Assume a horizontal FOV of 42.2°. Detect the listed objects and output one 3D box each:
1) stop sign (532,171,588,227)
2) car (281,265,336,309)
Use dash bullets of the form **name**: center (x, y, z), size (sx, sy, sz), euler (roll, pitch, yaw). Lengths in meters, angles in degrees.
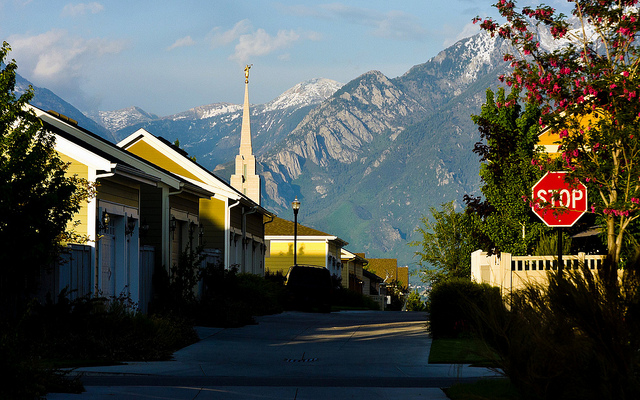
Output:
- **stop sign**: center (7.360, -0.035, 25.588), size (1.584, 1.735, 0.172), euler (0, -5, 16)
- **car**: center (-0.512, 4.252, 40.529), size (2.483, 2.204, 1.469), euler (4, -13, -16)
